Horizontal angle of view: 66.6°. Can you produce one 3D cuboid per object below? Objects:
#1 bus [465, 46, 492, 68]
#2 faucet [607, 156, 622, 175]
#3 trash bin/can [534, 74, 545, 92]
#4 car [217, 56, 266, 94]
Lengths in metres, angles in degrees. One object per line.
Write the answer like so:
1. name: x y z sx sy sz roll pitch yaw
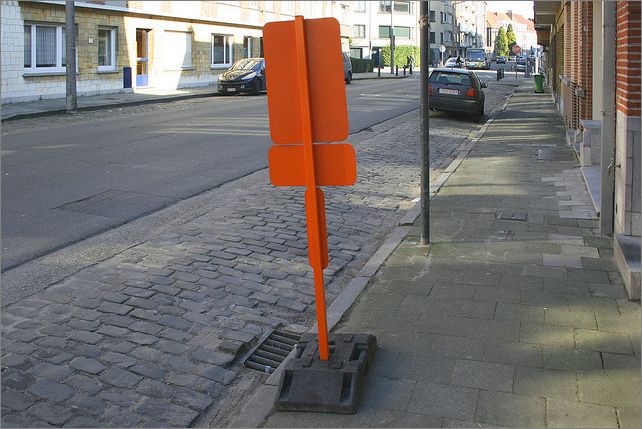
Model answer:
1. bus: 23.429 -22.940 73.103 2.207 2.112 6.087 2 11 16
2. faucet: 3.853 -0.621 6.357 0.213 0.282 0.121 -5 9 -14
3. trash bin/can: 13.872 -8.271 31.090 0.449 1.059 0.620 1 19 12
4. car: -4.405 -7.750 27.887 1.940 1.943 2.575 9 22 31
